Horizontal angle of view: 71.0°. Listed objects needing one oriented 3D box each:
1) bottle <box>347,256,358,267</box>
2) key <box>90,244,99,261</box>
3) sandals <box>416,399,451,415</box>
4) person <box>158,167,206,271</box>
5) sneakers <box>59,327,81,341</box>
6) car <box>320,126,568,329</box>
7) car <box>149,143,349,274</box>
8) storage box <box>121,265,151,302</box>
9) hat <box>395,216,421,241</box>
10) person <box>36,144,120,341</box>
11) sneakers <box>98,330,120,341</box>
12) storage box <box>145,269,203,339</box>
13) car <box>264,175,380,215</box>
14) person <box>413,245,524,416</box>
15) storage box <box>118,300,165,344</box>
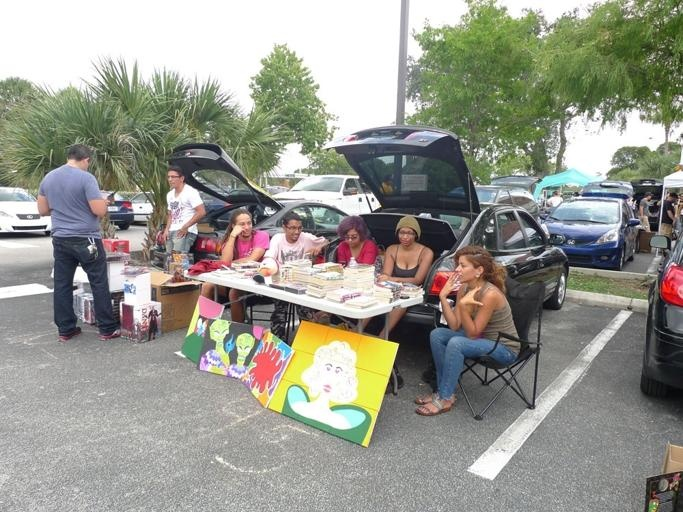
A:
[{"bbox_3d":[0.102,0.052,4.473,0.089,0.086,0.089,0,-2,-7],"label":"bottle"},{"bbox_3d":[-3.070,-0.057,5.868,0.099,0.152,0.080,21,-18,-32],"label":"key"},{"bbox_3d":[0.871,1.419,4.468,0.332,0.122,0.130,-4,8,-11],"label":"sandals"},{"bbox_3d":[-2.460,-0.716,7.398,0.577,1.321,0.667,-4,14,-22],"label":"person"},{"bbox_3d":[-3.409,0.977,6.008,0.093,0.100,0.255,13,20,30],"label":"sneakers"},{"bbox_3d":[1.568,-0.645,6.578,1.776,1.988,3.220,6,13,40],"label":"car"},{"bbox_3d":[-1.470,-0.953,8.649,1.776,2.007,3.483,4,11,41],"label":"car"},{"bbox_3d":[-2.615,0.398,6.106,0.323,0.424,0.282,4,12,21],"label":"storage box"},{"bbox_3d":[0.762,-0.312,5.441,0.233,0.201,0.247,3,-7,9],"label":"hat"},{"bbox_3d":[-3.292,-0.169,5.932,0.736,2.382,0.743,-7,15,-31],"label":"person"},{"bbox_3d":[-2.935,0.998,6.035,0.112,0.121,0.285,2,2,41],"label":"sneakers"},{"bbox_3d":[-2.236,0.638,6.390,0.829,0.797,0.625,7,8,40],"label":"storage box"},{"bbox_3d":[-0.348,-1.845,14.254,1.792,1.178,2.997,-1,-2,43],"label":"car"},{"bbox_3d":[1.213,0.697,4.532,0.999,1.541,0.473,0,13,-5],"label":"person"},{"bbox_3d":[-2.582,0.834,6.116,0.331,0.397,0.432,3,1,21],"label":"storage box"}]
